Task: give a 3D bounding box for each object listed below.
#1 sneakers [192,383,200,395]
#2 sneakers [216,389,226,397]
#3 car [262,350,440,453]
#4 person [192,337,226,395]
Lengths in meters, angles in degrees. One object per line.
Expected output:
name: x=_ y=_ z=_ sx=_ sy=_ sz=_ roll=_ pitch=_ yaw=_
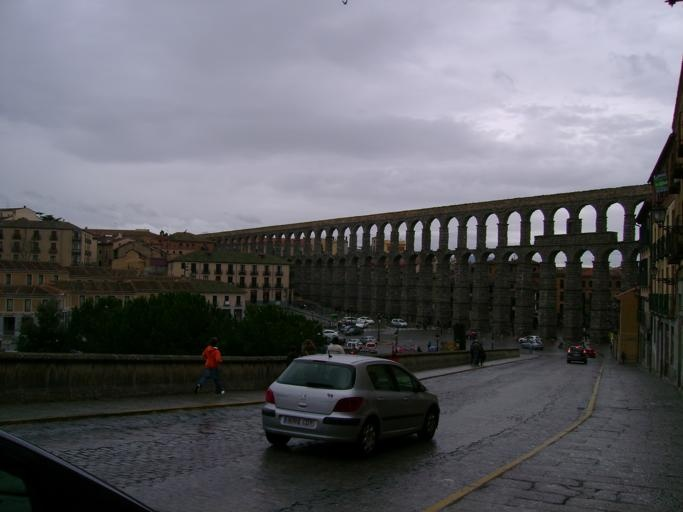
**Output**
sneakers: x=-3.871 y=3.533 z=22.507 sx=0.147 sy=0.286 sz=0.412 roll=8 pitch=7 yaw=4
sneakers: x=-3.267 y=3.721 z=22.781 sx=0.105 sy=0.137 sz=0.309 roll=2 pitch=0 yaw=2
car: x=0.265 y=3.010 z=17.309 sx=3.417 sy=1.941 sz=1.488 roll=1 pitch=-3 yaw=-34
person: x=-3.601 y=2.990 z=23.037 sx=0.761 sy=1.545 sz=1.537 roll=-1 pitch=-2 yaw=-7
